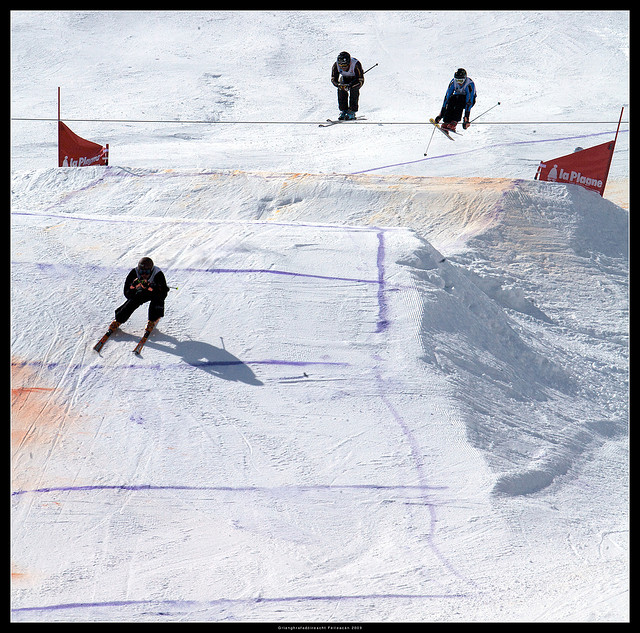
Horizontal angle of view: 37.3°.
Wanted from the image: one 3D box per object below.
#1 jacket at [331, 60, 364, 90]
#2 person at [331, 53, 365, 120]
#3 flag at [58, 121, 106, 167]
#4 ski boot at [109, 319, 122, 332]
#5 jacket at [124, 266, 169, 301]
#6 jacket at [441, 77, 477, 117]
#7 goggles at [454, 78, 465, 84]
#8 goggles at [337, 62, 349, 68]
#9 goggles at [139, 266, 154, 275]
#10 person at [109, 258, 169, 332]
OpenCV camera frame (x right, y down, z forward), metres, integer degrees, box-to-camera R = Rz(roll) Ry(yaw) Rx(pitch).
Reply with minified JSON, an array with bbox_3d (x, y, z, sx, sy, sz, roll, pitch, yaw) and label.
[{"bbox_3d":[0.439,-4.033,15.848,0.671,0.522,0.496,1,40,9],"label":"jacket"},{"bbox_3d":[0.473,-3.929,15.998,0.537,1.082,1.054,6,20,-1],"label":"person"},{"bbox_3d":[-5.350,-3.811,21.295,1.017,0.884,0.625,1,22,-11],"label":"flag"},{"bbox_3d":[-2.794,0.122,12.852,0.113,0.189,0.068,49,14,1],"label":"ski boot"},{"bbox_3d":[-2.359,-0.440,12.753,0.607,0.476,0.186,8,22,10],"label":"jacket"},{"bbox_3d":[2.448,-3.828,16.257,0.507,0.566,0.502,31,57,32],"label":"jacket"},{"bbox_3d":[2.387,-4.013,16.048,0.161,0.077,0.097,6,19,4],"label":"goggles"},{"bbox_3d":[0.395,-4.134,15.438,0.143,0.044,0.140,0,3,-1],"label":"goggles"},{"bbox_3d":[-2.309,-0.612,12.667,0.199,0.101,0.085,-4,23,-24],"label":"goggles"},{"bbox_3d":[-2.362,-0.328,12.733,0.788,0.753,1.135,12,29,0],"label":"person"}]
